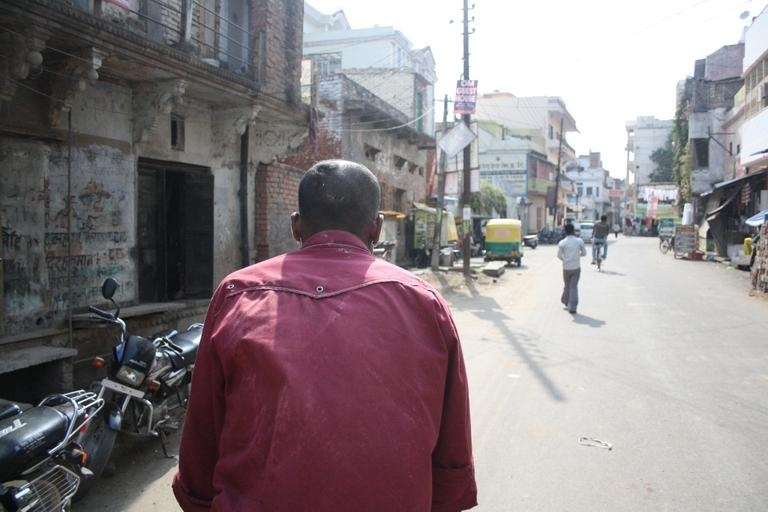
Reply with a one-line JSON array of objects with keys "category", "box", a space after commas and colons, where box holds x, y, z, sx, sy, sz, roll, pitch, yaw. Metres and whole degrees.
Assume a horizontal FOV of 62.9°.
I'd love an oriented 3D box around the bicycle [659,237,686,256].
[{"category": "bicycle", "box": [13.865, -0.490, 30.468, 0.819, 1.168, 1.658, 1, 2, -35]}]
